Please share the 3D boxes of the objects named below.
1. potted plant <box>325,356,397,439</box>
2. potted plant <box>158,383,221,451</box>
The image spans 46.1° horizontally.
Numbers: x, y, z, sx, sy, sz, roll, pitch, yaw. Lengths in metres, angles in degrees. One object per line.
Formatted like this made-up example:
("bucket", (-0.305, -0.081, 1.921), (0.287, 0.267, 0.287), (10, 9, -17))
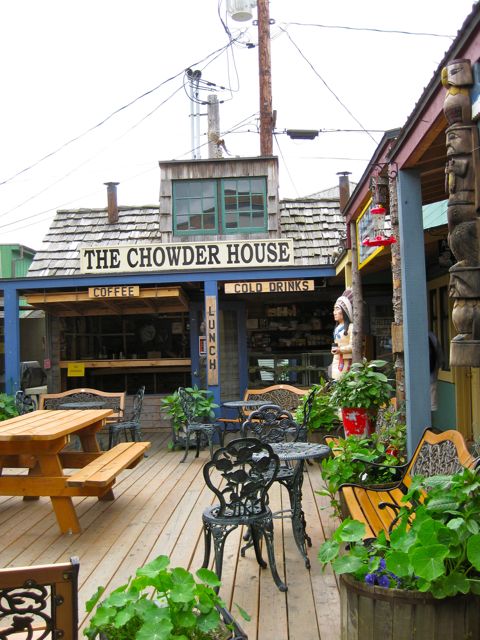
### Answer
("potted plant", (1.006, 0.663, 4.723), (0.521, 0.647, 0.372), (-3, -4, 20))
("potted plant", (-0.714, 1.342, 7.941), (0.868, 0.955, 0.843), (-1, -5, 5))
